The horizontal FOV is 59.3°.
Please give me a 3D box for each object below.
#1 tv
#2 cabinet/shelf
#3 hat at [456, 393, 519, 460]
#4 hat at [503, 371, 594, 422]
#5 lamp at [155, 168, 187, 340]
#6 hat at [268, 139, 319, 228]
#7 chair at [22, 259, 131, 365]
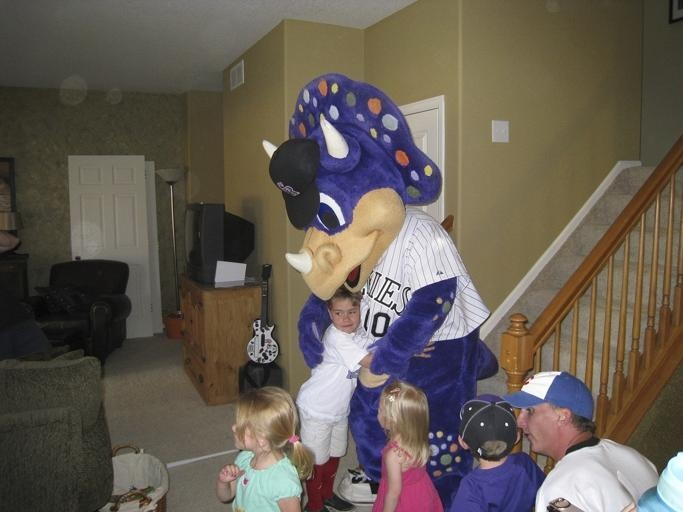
[{"bbox_3d":[-1.100,-0.128,5.565,0.640,0.751,0.708,-2,8,-23],"label":"tv"},{"bbox_3d":[-1.126,0.736,5.549,0.532,0.974,0.925,-5,8,-27],"label":"cabinet/shelf"},{"bbox_3d":[0.674,0.758,2.656,0.197,0.168,0.284,0,37,9],"label":"hat"},{"bbox_3d":[0.956,0.613,2.726,0.313,0.167,0.209,2,-6,22],"label":"hat"},{"bbox_3d":[-1.977,-0.146,7.149,0.346,1.783,0.731,-5,13,-13],"label":"lamp"},{"bbox_3d":[-0.208,-0.364,3.068,0.261,0.442,0.230,4,7,33],"label":"hat"},{"bbox_3d":[-2.747,0.588,6.249,1.161,1.058,1.201,-5,3,-43],"label":"chair"}]
